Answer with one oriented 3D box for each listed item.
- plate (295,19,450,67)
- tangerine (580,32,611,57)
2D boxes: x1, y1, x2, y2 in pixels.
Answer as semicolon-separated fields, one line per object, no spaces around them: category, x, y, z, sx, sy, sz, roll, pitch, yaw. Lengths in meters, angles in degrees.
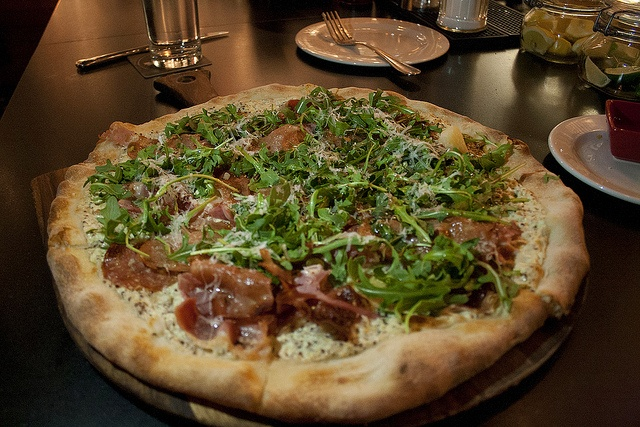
plate;0.415;-1.335;3.688;0.961;0.172;0.692;-4;24;-4
tangerine;1.822;-1.122;3.122;0.069;0.159;0.191;-4;44;-5
